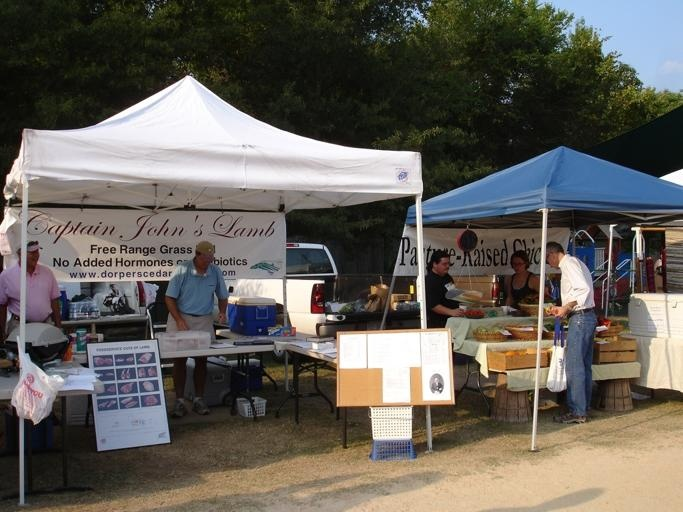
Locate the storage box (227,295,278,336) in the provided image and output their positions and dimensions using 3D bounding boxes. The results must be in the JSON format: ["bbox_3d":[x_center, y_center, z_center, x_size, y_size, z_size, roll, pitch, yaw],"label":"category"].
[{"bbox_3d":[-1.386,0.928,11.449,0.592,0.558,0.888,1,-1,-22],"label":"storage box"}]

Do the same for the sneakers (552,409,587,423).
[{"bbox_3d":[3.163,2.274,10.394,0.433,0.213,0.181,4,-3,16],"label":"sneakers"}]

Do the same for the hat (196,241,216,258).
[{"bbox_3d":[-1.942,-0.078,10.568,0.254,0.148,0.190,4,10,44],"label":"hat"}]

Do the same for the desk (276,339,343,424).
[{"bbox_3d":[-0.503,1.787,10.592,1.421,0.875,0.756,7,-26,-21],"label":"desk"}]

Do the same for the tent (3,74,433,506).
[{"bbox_3d":[-1.866,-0.059,10.205,5.386,4.797,4.030,-3,9,-16],"label":"tent"}]

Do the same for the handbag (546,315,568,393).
[{"bbox_3d":[2.925,1.342,10.125,0.274,1.013,0.469,2,9,17],"label":"handbag"}]

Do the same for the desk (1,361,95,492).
[{"bbox_3d":[-3.401,1.991,8.431,0.913,1.293,1.158,-5,10,-26],"label":"desk"}]

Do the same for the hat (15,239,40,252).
[{"bbox_3d":[-4.116,-0.110,9.814,0.241,0.072,0.239,-16,2,13],"label":"hat"}]

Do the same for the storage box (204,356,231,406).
[{"bbox_3d":[-1.942,1.926,11.560,0.513,0.602,0.846,0,1,-17],"label":"storage box"}]

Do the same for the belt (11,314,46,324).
[{"bbox_3d":[-3.968,0.805,9.458,0.244,0.063,0.255,1,-1,13],"label":"belt"}]

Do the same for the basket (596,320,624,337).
[{"bbox_3d":[3.801,1.057,10.748,0.305,0.110,0.301,-1,2,-17],"label":"basket"}]

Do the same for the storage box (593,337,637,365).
[{"bbox_3d":[3.931,1.369,10.742,0.456,0.233,0.454,-1,1,-9],"label":"storage box"}]

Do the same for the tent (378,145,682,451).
[{"bbox_3d":[2.871,0.595,11.419,4.145,2.932,4.156,-2,3,-37],"label":"tent"}]
